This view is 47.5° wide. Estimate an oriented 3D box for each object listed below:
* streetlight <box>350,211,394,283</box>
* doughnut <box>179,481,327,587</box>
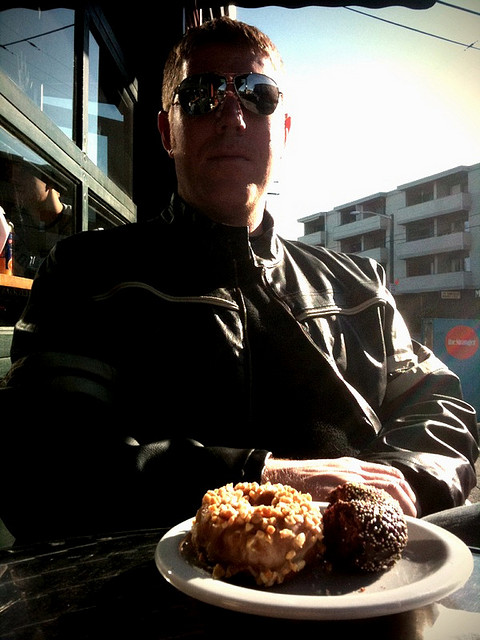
[{"bbox_3d":[1.964,-0.911,7.595,0.627,0.199,1.713,0,-33,18],"label":"streetlight"},{"bbox_3d":[0.038,0.323,0.869,0.226,0.095,0.242,-4,2,-39],"label":"doughnut"}]
